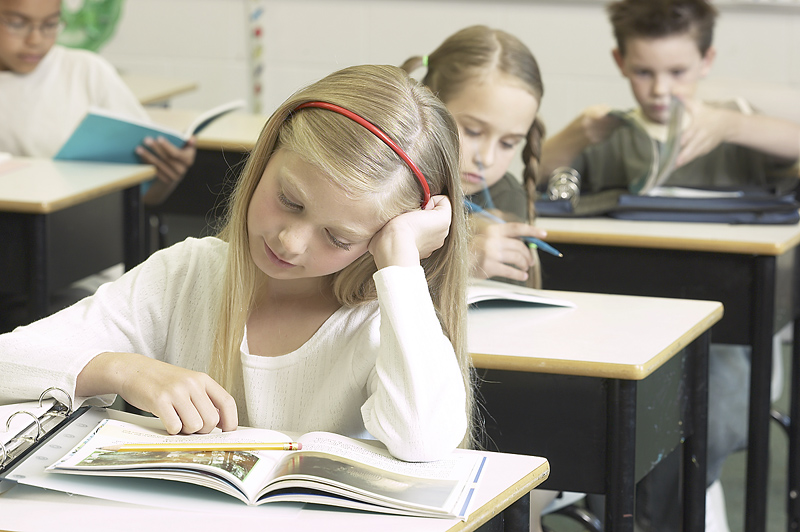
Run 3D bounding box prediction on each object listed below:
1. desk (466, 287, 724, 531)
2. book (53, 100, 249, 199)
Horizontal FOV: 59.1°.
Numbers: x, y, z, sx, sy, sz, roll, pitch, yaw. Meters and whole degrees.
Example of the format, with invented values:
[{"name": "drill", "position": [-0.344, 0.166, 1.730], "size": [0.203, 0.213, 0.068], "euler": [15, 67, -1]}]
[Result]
[{"name": "desk", "position": [0.398, 0.207, 1.494], "size": [0.454, 0.433, 0.441], "euler": [4, 8, 32]}, {"name": "book", "position": [-0.645, -0.307, 1.836], "size": [0.222, 0.334, 0.200], "euler": [38, 18, 13]}]
